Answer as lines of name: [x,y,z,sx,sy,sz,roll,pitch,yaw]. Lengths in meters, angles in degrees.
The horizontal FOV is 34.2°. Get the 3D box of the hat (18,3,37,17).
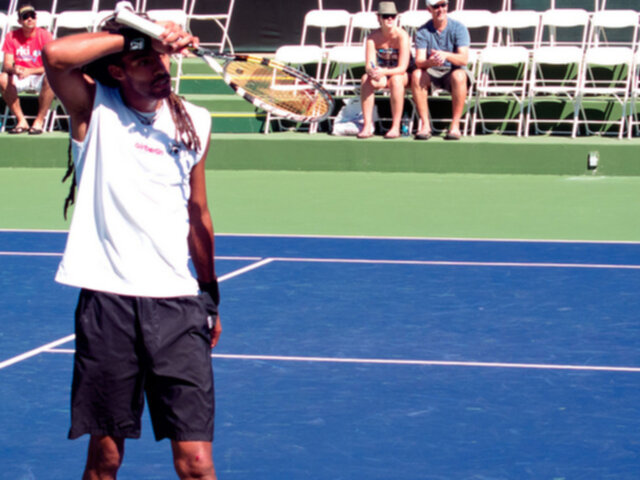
hat: [-3.924,-3.075,13.883,0.185,0.178,0.318,0,7,-18]

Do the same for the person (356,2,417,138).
person: [0.848,-2.178,13.319,0.667,1.793,0.709,4,8,8]

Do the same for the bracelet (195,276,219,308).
bracelet: [-0.590,0.265,5.297,0.135,0.198,0.132,-1,-7,-10]

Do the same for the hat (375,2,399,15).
hat: [0.841,-2.904,12.987,0.215,0.153,0.163,2,7,-6]

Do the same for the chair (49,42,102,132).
chair: [-1.169,-0.715,4.873,0.250,0.499,0.165,1,8,-13]

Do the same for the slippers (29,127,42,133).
slippers: [-3.982,-1.526,14.551,0.208,0.048,0.071,2,2,7]

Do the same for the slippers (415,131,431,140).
slippers: [1.318,-1.331,13.267,0.133,0.066,0.193,0,-3,-2]

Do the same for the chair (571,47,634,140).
chair: [3.763,-1.954,13.799,0.679,1.215,2.161,5,7,16]
